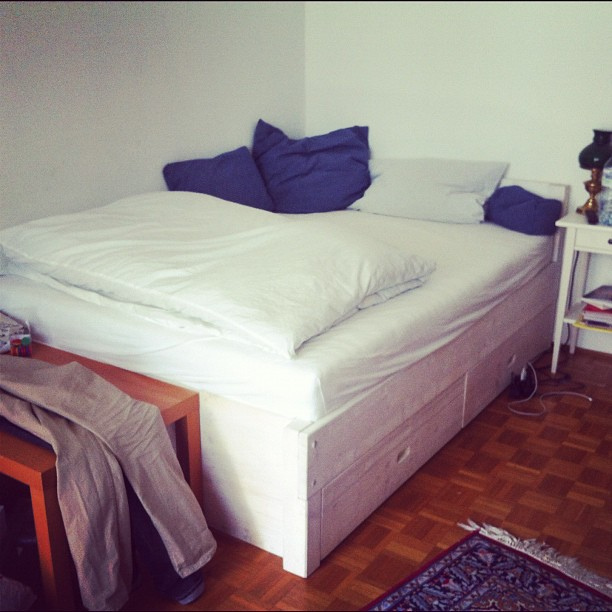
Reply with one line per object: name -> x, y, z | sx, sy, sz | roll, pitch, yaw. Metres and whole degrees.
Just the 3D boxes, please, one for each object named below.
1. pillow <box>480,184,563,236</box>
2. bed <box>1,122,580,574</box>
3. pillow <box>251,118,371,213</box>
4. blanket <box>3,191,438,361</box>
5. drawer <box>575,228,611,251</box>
pillow -> 0.890, -0.405, 2.612 | 0.182, 0.114, 0.308 | -38, 32, -18
bed -> 0.199, -0.108, 2.104 | 1.628, 0.646, 1.679 | 16, 29, 32
pillow -> 0.027, -0.632, 2.846 | 0.568, 0.435, 0.151 | -5, -7, -6
blanket -> -0.328, -0.133, 1.717 | 0.891, 0.110, 0.619 | 18, 29, 30
drawer -> 1.107, -0.254, 2.377 | 0.155, 0.080, 0.086 | 14, 28, 33
